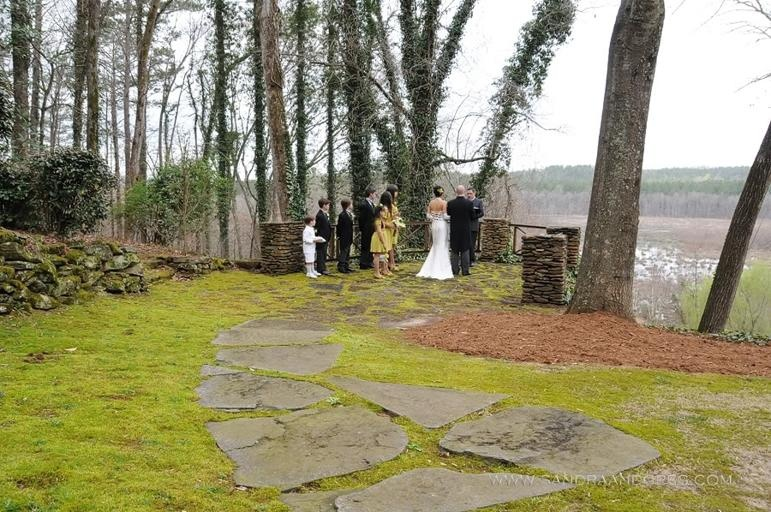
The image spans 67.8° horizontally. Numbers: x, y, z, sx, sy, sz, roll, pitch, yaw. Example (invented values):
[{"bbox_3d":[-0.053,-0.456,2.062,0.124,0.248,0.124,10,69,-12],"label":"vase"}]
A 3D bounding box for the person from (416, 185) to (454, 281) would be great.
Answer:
[{"bbox_3d":[1.650,-0.705,17.891,1.045,2.859,0.945,14,17,38],"label":"person"}]

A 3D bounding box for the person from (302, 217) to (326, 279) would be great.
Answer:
[{"bbox_3d":[-2.222,-0.323,17.967,0.624,2.023,0.971,1,14,-6],"label":"person"}]

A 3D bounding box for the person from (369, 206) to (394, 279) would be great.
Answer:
[{"bbox_3d":[-0.109,-0.506,18.159,0.641,2.338,1.346,3,13,1],"label":"person"}]
